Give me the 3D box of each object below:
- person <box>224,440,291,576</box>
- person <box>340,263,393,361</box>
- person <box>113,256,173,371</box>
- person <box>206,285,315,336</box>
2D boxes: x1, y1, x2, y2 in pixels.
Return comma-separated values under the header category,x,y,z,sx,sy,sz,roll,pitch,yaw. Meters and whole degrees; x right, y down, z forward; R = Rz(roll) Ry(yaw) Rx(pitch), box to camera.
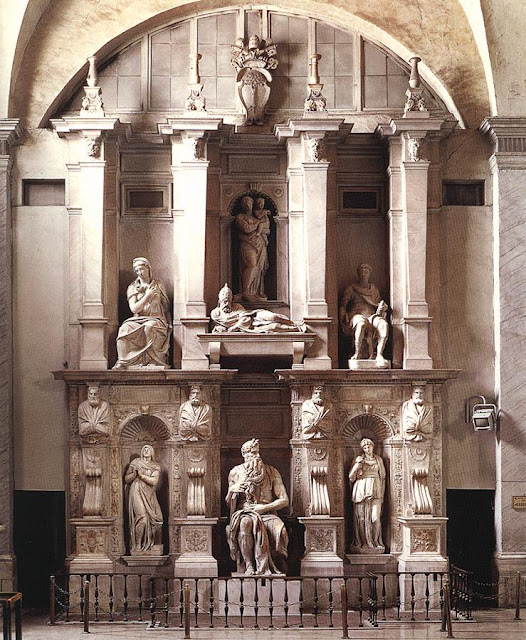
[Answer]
category,x,y,z,sx,sy,sz,roll,pitch,yaw
person,-0.113,2.576,22.502,0.846,1.850,0.614,-1,-5,-2
person,1.436,-0.063,23.582,0.609,1.532,0.759,-1,-5,-6
person,-1.759,-0.097,23.302,0.784,1.587,0.342,-1,-5,-7
person,-0.123,-0.192,23.135,1.286,0.793,0.674,0,-4,2
